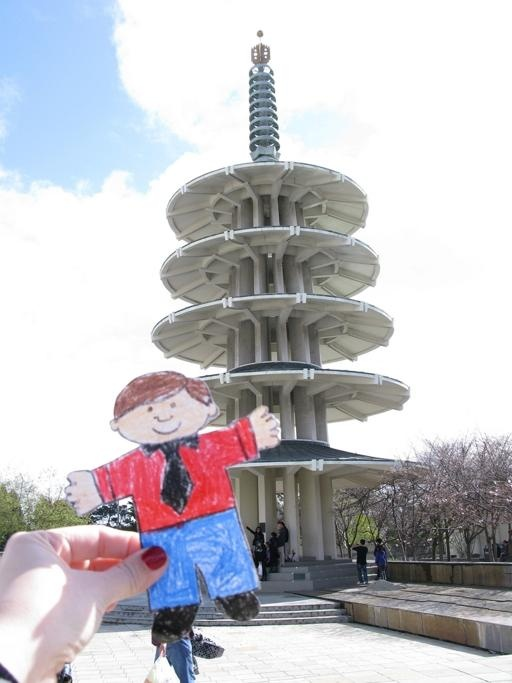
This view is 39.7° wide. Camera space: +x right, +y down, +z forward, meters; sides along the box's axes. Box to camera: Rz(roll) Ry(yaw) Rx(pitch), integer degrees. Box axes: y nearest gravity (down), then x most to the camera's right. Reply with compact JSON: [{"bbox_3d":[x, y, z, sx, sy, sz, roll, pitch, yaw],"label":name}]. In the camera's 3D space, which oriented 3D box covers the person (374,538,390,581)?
[{"bbox_3d":[3.756,6.694,21.507,0.324,1.214,1.085,-6,-11,8],"label":"person"}]
